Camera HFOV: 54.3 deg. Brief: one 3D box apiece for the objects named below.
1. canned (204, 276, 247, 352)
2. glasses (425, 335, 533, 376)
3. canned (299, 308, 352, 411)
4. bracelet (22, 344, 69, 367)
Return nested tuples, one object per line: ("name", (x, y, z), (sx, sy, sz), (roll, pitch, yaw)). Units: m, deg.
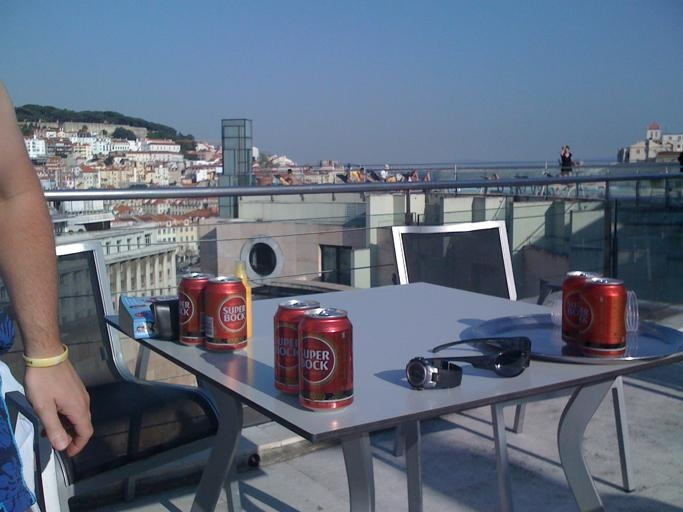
("canned", (-0.263, 0.126, 1.503), (0.098, 0.162, 0.074), (-4, 14, -11))
("glasses", (0.329, 0.211, 1.408), (0.139, 0.043, 0.107), (-2, 4, -8))
("canned", (-0.029, 0.192, 1.225), (0.098, 0.170, 0.066), (-2, 13, -3))
("bracelet", (-0.524, 0.180, 1.185), (0.073, 0.025, 0.042), (-10, 16, -32))
